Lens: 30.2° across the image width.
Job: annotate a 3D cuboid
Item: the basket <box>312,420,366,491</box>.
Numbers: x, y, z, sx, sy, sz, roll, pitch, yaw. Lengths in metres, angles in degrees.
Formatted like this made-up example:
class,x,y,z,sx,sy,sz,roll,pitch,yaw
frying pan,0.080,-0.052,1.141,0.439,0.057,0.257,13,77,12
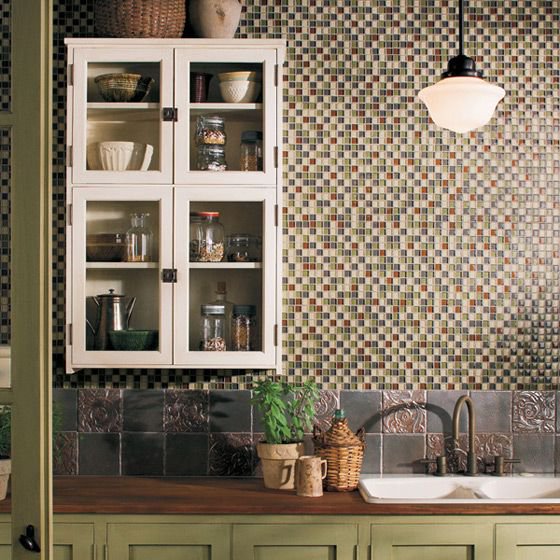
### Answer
class,x,y,z,sx,sy,sz,roll,pitch,yaw
basket,0.209,0.622,3.679,0.208,0.295,0.202,8,-15,-34

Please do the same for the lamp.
class,x,y,z,sx,sy,sz,roll,pitch,yaw
lamp,0.566,-0.601,3.266,0.257,0.245,0.152,1,-3,7

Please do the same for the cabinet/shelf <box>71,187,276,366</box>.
class,x,y,z,sx,sy,sz,roll,pitch,yaw
cabinet/shelf,-0.373,-0.019,3.706,0.571,0.553,0.205,0,-7,-2

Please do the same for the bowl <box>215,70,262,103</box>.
class,x,y,z,sx,sy,sz,roll,pitch,yaw
bowl,-0.145,-0.690,3.733,0.114,0.076,0.120,0,3,0

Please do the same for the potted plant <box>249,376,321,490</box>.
class,x,y,z,sx,sy,sz,roll,pitch,yaw
potted plant,0.007,0.556,3.800,0.249,0.380,0.251,1,-3,2

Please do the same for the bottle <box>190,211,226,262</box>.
class,x,y,z,sx,sy,sz,roll,pitch,yaw
bottle,-0.292,-0.156,3.697,0.128,0.186,0.166,1,-6,-10

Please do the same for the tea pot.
class,x,y,z,sx,sy,sz,roll,pitch,yaw
tea pot,-0.609,0.160,3.825,0.254,0.293,0.171,1,-9,-9

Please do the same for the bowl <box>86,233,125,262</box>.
class,x,y,z,sx,sy,sz,roll,pitch,yaw
bowl,-0.630,-0.116,3.711,0.103,0.077,0.108,0,-5,0

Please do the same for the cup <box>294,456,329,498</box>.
class,x,y,z,sx,sy,sz,roll,pitch,yaw
cup,0.103,0.681,3.628,0.111,0.132,0.135,1,-3,1

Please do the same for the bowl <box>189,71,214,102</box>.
class,x,y,z,sx,sy,sz,roll,pitch,yaw
bowl,-0.294,-0.694,3.796,0.087,0.122,0.118,4,5,32

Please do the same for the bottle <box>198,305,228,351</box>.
class,x,y,z,sx,sy,sz,roll,pitch,yaw
bottle,-0.241,0.173,3.712,0.133,0.232,0.137,0,-8,0

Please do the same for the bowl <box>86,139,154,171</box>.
class,x,y,z,sx,sy,sz,roll,pitch,yaw
bowl,-0.581,-0.438,3.728,0.149,0.078,0.130,0,-2,1

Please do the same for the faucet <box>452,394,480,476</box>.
class,x,y,z,sx,sy,sz,roll,pitch,yaw
faucet,0.678,0.572,3.850,0.092,0.292,0.147,0,-3,9
